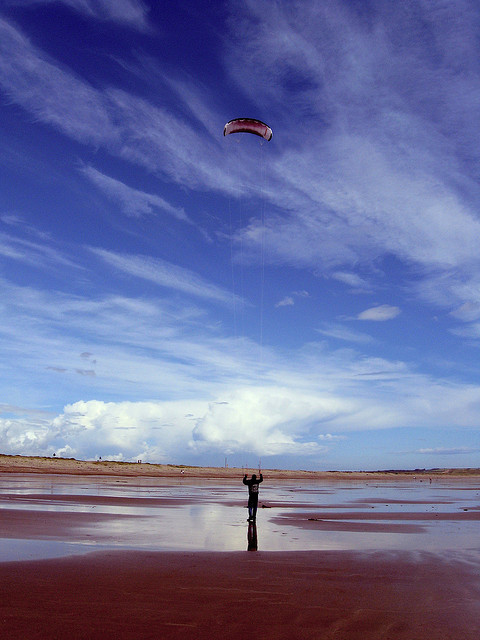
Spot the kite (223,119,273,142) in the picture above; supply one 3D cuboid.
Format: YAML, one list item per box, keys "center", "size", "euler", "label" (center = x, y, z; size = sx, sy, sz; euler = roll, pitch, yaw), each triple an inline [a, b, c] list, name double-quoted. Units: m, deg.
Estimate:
- center: [0.452, -11.090, 31.205]
  size: [2.603, 1.299, 1.945]
  euler: [0, -11, 2]
  label: "kite"
